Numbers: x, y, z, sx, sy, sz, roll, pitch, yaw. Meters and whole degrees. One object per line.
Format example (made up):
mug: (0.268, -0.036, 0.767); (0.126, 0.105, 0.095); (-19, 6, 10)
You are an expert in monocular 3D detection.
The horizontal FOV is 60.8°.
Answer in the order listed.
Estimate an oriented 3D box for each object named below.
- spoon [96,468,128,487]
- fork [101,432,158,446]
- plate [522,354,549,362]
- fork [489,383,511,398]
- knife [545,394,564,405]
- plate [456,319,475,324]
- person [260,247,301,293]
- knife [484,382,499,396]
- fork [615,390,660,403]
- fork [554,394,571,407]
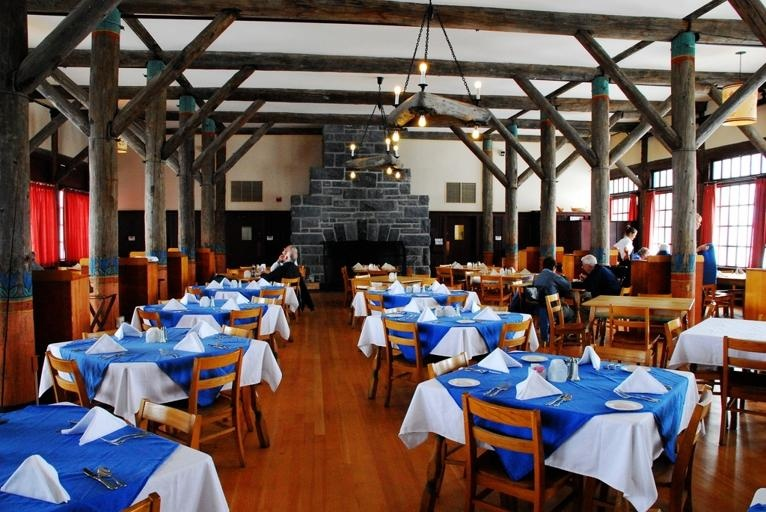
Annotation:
spoon: (-2.254, 1.850, 5.445); (0.285, 0.146, 0.086); (0, 1, 20)
fork: (-2.246, 1.621, 5.755); (0.446, 0.081, 0.080); (0, 17, -31)
plate: (1.613, 1.093, 6.978); (0.273, 0.069, 0.161); (0, 0, 11)
fork: (1.114, 1.301, 6.305); (0.085, 0.042, 0.288); (17, 23, 39)
knife: (1.617, 1.363, 6.133); (0.068, 0.028, 0.236); (13, 17, 38)
plate: (1.024, 0.818, 8.156); (0.221, 0.031, 0.185); (0, 0, 11)
person: (-1.912, 0.387, 12.462); (0.558, 1.095, 0.600); (4, 6, -23)
knife: (1.048, 1.308, 6.275); (0.191, 0.063, 0.107); (0, 0, -39)
fork: (2.415, 1.337, 6.197); (0.371, 0.060, 0.066); (2, 30, 17)
fork: (1.682, 1.358, 6.143); (0.072, 0.028, 0.243); (29, 29, 32)
